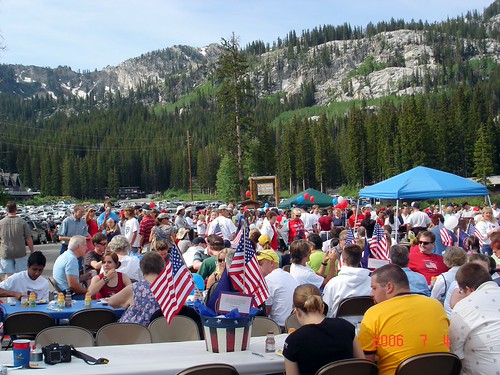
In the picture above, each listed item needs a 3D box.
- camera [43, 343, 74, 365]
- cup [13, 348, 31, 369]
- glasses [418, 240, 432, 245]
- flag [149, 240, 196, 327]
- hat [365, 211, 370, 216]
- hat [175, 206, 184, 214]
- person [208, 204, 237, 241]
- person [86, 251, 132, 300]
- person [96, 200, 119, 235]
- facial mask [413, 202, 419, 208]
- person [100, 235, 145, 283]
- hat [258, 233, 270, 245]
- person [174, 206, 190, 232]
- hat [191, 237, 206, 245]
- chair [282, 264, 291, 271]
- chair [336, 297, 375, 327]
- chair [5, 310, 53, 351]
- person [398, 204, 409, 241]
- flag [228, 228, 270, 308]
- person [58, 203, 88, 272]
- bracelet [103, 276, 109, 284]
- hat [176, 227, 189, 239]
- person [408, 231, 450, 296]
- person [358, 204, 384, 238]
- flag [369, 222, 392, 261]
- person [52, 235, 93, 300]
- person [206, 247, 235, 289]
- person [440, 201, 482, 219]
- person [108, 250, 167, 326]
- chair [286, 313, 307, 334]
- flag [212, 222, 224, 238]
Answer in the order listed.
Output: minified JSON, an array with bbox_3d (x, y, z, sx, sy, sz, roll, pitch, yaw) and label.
[{"bbox_3d":[-3.539,2.995,13.787,0.521,0.369,0.198,-1,-4,-17],"label":"camera"},{"bbox_3d":[-4.137,3.058,13.648,0.281,0.355,0.300,1,-12,0],"label":"cup"},{"bbox_3d":[4.099,1.273,17.833,0.293,0.111,0.172,-5,-5,26],"label":"glasses"},{"bbox_3d":[-1.487,1.742,14.406,0.855,1.794,0.079,1,22,-14],"label":"flag"},{"bbox_3d":[4.141,0.881,26.871,0.127,0.161,0.185,-3,-2,5],"label":"hat"},{"bbox_3d":[-2.276,0.665,24.733,0.242,0.208,0.357,-17,-12,34],"label":"hat"},{"bbox_3d":[-0.887,1.153,23.292,0.978,1.321,0.664,-4,-1,23],"label":"person"},{"bbox_3d":[-3.165,2.299,17.126,0.868,1.733,0.733,-3,-6,-8],"label":"person"},{"bbox_3d":[-4.516,1.263,23.864,0.599,1.670,0.528,-3,8,-17],"label":"person"},{"bbox_3d":[5.598,0.561,25.635,0.135,0.134,0.197,-1,3,3],"label":"facial mask"},{"bbox_3d":[-3.059,1.672,17.766,0.643,0.804,0.437,-23,15,-11],"label":"person"},{"bbox_3d":[0.321,1.250,18.521,0.255,0.235,0.196,3,17,-38],"label":"hat"},{"bbox_3d":[-2.262,1.012,24.756,0.395,0.888,0.641,2,9,11],"label":"person"},{"bbox_3d":[-1.418,1.465,20.609,0.262,0.155,0.200,-22,12,-27],"label":"hat"},{"bbox_3d":[0.919,2.085,19.875,0.131,0.199,0.150,-1,-6,25],"label":"chair"},{"bbox_3d":[2.142,2.562,15.920,0.491,0.950,0.644,0,2,-5],"label":"chair"},{"bbox_3d":[-4.592,2.866,15.643,0.666,1.052,0.705,3,10,-17],"label":"chair"},{"bbox_3d":[5.898,1.597,28.994,0.495,1.878,0.517,2,12,11],"label":"person"},{"bbox_3d":[-0.074,1.453,14.419,0.732,1.902,0.096,-4,25,3],"label":"flag"},{"bbox_3d":[-5.024,1.696,21.358,0.834,2.592,0.687,-3,17,-36],"label":"person"},{"bbox_3d":[-3.250,2.044,16.997,0.135,0.131,0.091,39,37,27],"label":"bracelet"},{"bbox_3d":[-1.831,1.230,20.671,0.233,0.320,0.131,-13,-45,27],"label":"hat"},{"bbox_3d":[4.092,1.760,17.401,0.940,1.828,0.600,-5,-12,18],"label":"person"},{"bbox_3d":[3.923,1.074,24.828,0.642,1.785,0.574,-5,42,2],"label":"person"},{"bbox_3d":[3.256,1.304,19.372,0.542,1.592,0.206,-4,43,6],"label":"flag"},{"bbox_3d":[-4.171,1.978,17.774,0.856,1.804,0.941,0,3,-33],"label":"person"},{"bbox_3d":[-0.696,1.835,16.856,0.595,0.578,0.921,3,22,-4],"label":"person"},{"bbox_3d":[8.543,0.868,30.617,1.119,0.545,0.907,6,-10,6],"label":"person"},{"bbox_3d":[-2.393,2.133,15.835,0.864,1.370,0.724,15,8,-19],"label":"person"},{"bbox_3d":[0.918,2.710,15.227,0.307,0.482,0.326,-1,-8,2],"label":"chair"},{"bbox_3d":[-0.971,1.209,21.730,0.330,0.724,0.072,-4,-18,-8],"label":"flag"}]
